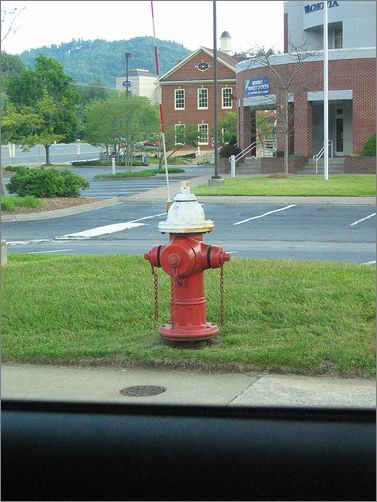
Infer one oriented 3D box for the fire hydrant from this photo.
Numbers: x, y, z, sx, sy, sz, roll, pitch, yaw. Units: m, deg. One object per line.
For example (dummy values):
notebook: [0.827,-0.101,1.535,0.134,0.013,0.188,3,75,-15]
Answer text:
fire hydrant: [-0.019,0.076,7.057,0.557,1.109,0.685,0,6,-2]
